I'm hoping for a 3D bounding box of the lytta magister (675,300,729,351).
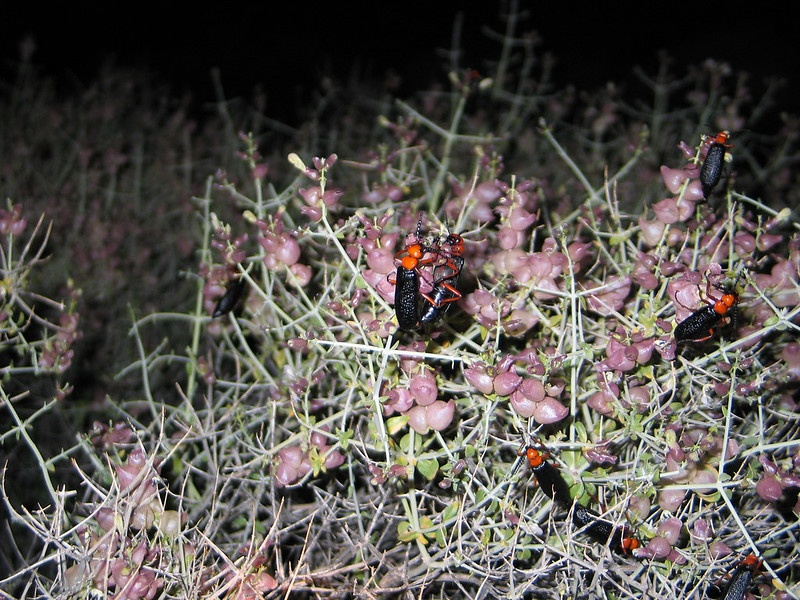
[{"bbox_3d":[0.462,0.042,1.337,0.082,0.061,0.024,-34,12,0],"label":"lytta magister"}]

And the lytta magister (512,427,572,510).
[{"bbox_3d":[0.228,0.271,1.362,0.086,0.121,0.036,-33,1,14],"label":"lytta magister"}]

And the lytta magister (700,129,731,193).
[{"bbox_3d":[0.516,-0.221,1.394,0.039,0.099,0.084,10,24,23],"label":"lytta magister"}]

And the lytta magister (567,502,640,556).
[{"bbox_3d":[0.323,0.366,1.343,0.129,0.046,0.070,29,-13,2],"label":"lytta magister"}]

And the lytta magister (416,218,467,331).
[{"bbox_3d":[0.069,-0.036,1.326,0.096,0.134,0.040,30,-29,-24],"label":"lytta magister"}]
